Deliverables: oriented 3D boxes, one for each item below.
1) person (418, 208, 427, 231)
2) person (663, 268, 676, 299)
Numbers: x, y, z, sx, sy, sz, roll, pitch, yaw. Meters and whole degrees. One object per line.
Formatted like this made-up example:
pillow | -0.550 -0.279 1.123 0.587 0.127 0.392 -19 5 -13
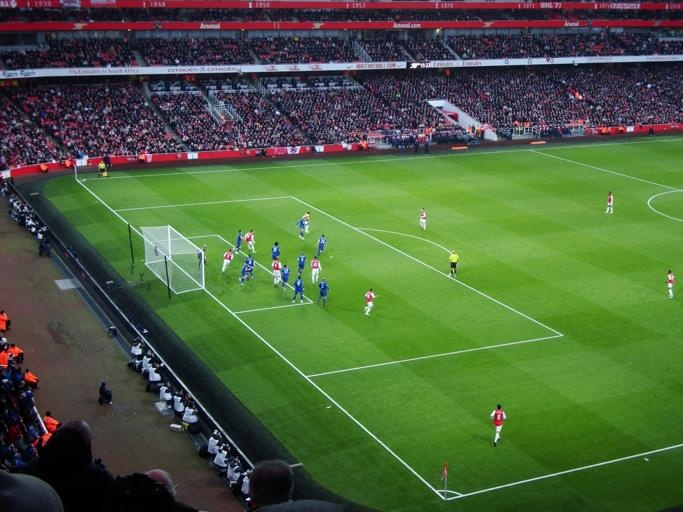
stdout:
person | 5.666 -2.468 60.915 0.657 1.850 0.615 -3 47 3
person | 18.804 1.328 50.604 0.543 1.420 2.992 4 18 21
